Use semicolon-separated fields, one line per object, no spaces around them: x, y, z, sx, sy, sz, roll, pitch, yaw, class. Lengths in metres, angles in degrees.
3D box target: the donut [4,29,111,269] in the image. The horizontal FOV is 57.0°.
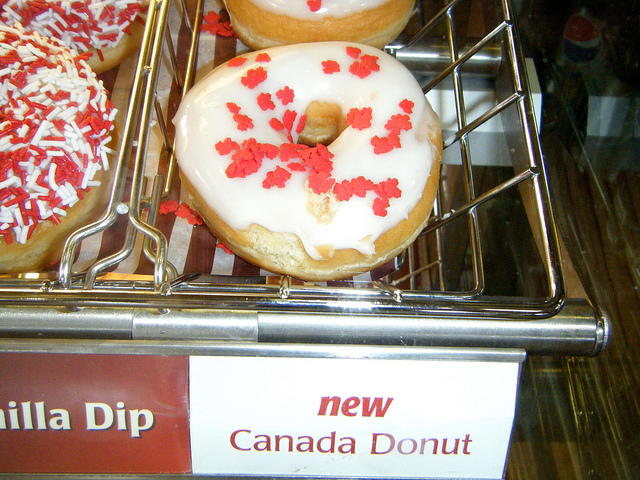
-0.594;-0.211;1.305;0.361;0.456;0.140;-4;-14;-25;donut
